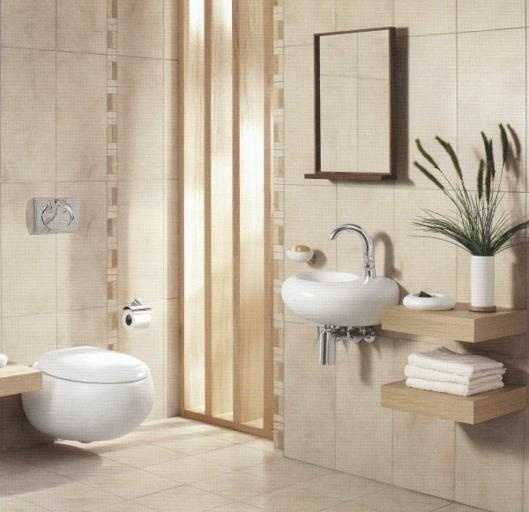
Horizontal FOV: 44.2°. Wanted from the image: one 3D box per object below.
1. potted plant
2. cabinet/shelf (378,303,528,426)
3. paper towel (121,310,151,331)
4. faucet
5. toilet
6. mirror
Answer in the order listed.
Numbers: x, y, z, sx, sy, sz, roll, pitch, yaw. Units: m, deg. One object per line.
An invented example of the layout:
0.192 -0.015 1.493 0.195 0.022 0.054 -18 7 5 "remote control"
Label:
0.618 -0.122 2.013 0.380 0.566 0.227 10 -1 10 "potted plant"
0.594 0.352 2.110 0.292 0.378 0.414 10 -1 -45 "cabinet/shelf"
-0.468 0.228 2.385 0.084 0.081 0.111 2 1 40 "paper towel"
0.308 -0.016 2.224 0.097 0.188 0.206 10 0 42 "faucet"
-0.663 0.590 2.531 0.473 0.297 0.507 2 -3 -16 "toilet"
0.286 -0.485 2.127 0.327 0.480 0.297 10 -1 27 "mirror"
